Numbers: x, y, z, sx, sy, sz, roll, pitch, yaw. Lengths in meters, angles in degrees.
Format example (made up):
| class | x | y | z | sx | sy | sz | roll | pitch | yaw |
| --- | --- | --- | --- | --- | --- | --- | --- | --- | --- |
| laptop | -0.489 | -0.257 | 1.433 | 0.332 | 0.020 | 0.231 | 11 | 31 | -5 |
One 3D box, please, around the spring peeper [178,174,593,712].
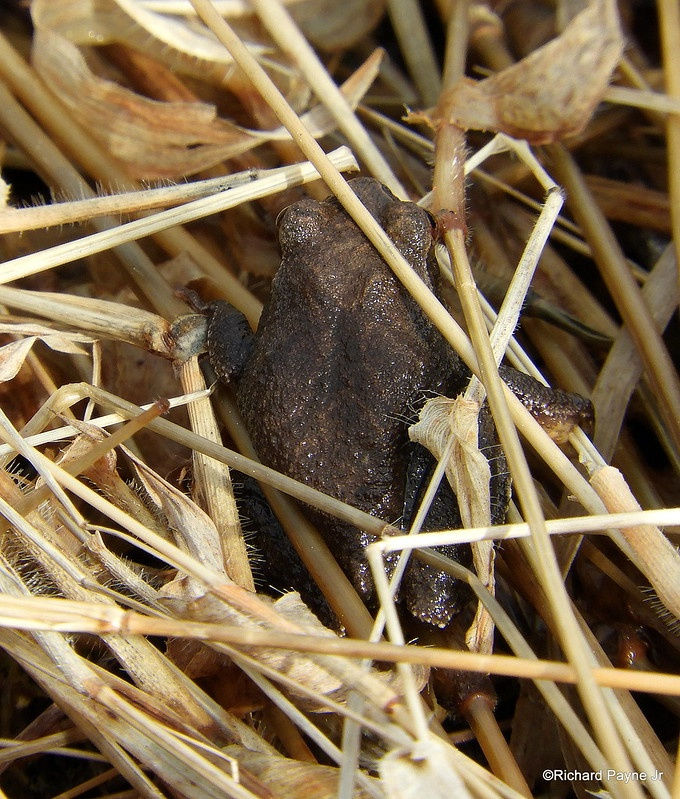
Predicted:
| class | x | y | z | sx | sy | sz | roll | pitch | yaw |
| --- | --- | --- | --- | --- | --- | --- | --- | --- | --- |
| spring peeper | 0.057 | 0.018 | 1.049 | 0.474 | 0.391 | 0.595 | -31 | 57 | -16 |
